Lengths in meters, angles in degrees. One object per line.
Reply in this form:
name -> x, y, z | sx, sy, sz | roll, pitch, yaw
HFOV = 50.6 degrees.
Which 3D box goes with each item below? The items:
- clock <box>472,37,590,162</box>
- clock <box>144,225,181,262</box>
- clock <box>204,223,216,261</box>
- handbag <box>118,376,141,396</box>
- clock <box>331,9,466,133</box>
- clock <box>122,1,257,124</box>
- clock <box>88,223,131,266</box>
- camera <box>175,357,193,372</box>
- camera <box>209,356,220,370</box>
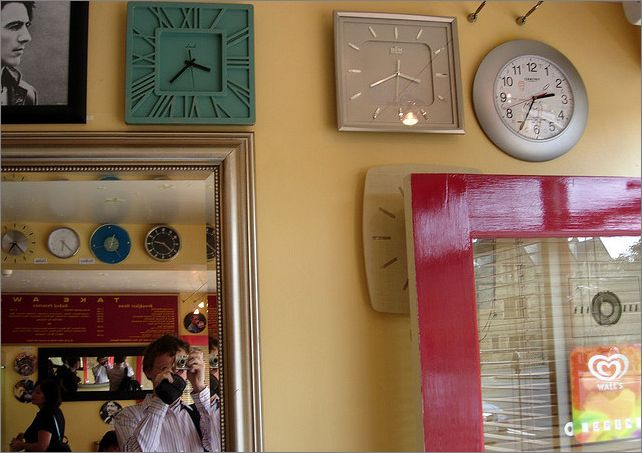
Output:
clock -> 0.691, -0.405, 2.194 | 0.398, 0.394, 0.041 | 2, -7, -13
clock -> -0.478, 0.045, 2.047 | 0.111, 0.123, 0.017 | 1, 2, 3
clock -> -0.330, 0.048, 2.028 | 0.032, 0.101, 0.022 | 0, -16, -7
handbag -> -0.612, 0.502, 2.166 | 0.056, 0.079, 0.042 | 3, 6, -12
clock -> 0.229, -0.472, 2.129 | 0.393, 0.373, 0.031 | 1, -7, -10
clock -> -0.418, -0.485, 2.070 | 0.385, 0.363, 0.030 | 0, -15, -4
clock -> -0.643, 0.047, 2.057 | 0.117, 0.116, 0.020 | 4, 10, -2
camera -> -0.425, 0.415, 2.070 | 0.048, 0.047, 0.015 | -5, -25, 22
camera -> -0.318, 0.398, 2.000 | 0.030, 0.040, 0.013 | -2, -16, 1
